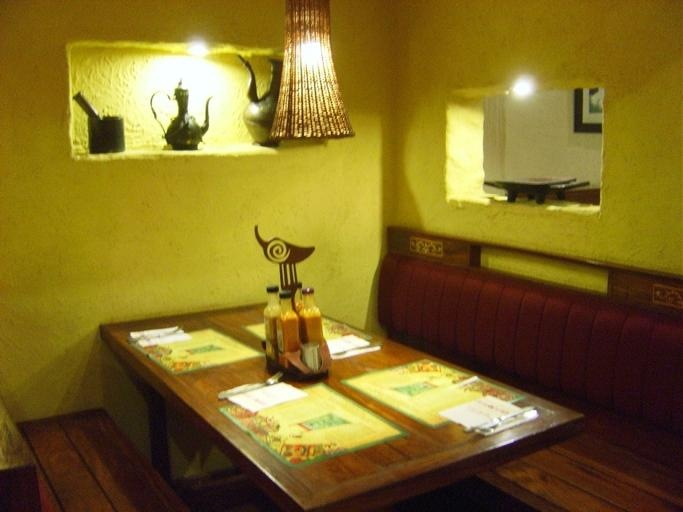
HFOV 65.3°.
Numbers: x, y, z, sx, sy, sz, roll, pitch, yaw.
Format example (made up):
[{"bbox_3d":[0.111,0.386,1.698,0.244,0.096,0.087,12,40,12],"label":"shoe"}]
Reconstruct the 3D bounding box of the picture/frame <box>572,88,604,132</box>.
[{"bbox_3d":[2.325,-1.341,4.971,0.407,0.403,0.139,-9,15,-32],"label":"picture/frame"}]
